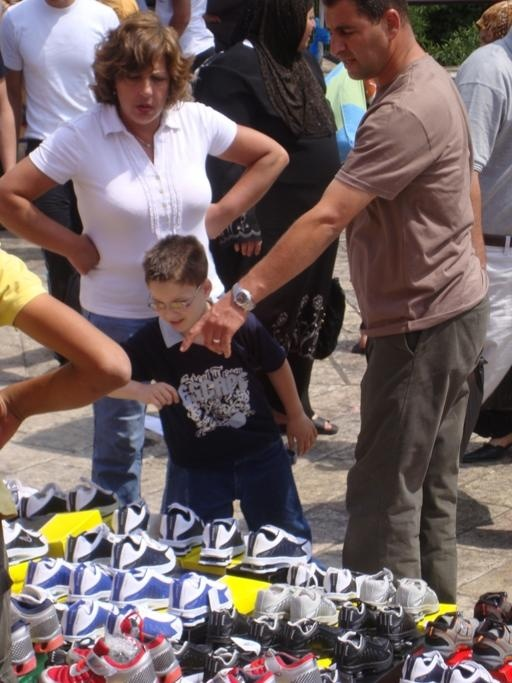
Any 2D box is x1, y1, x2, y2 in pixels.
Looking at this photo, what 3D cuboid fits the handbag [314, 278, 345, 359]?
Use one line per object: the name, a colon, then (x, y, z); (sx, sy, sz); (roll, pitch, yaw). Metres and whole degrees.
handbag: (0.402, -0.127, 4.208); (0.141, 0.349, 0.288); (8, -2, 23)
